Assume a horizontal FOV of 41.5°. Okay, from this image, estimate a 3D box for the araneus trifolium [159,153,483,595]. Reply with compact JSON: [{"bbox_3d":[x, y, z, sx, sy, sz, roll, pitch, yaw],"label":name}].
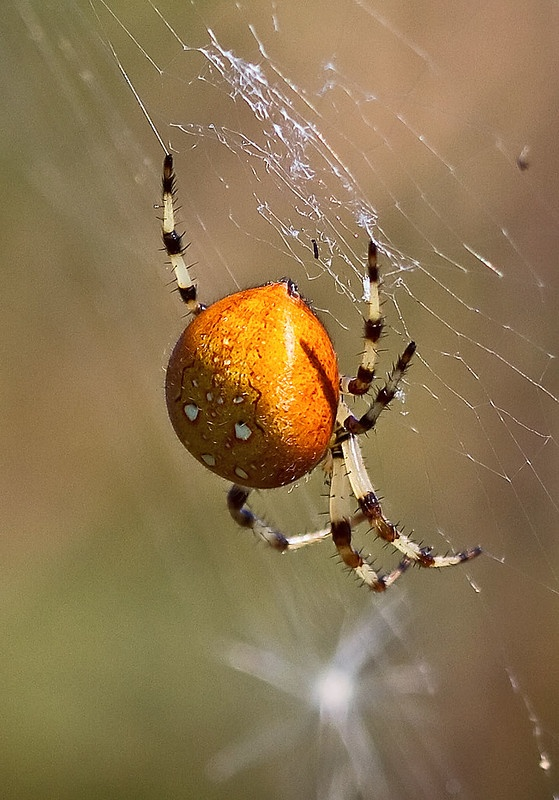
[{"bbox_3d":[0.033,-0.008,1.097,0.390,0.642,0.370,-1,-2,12],"label":"araneus trifolium"}]
